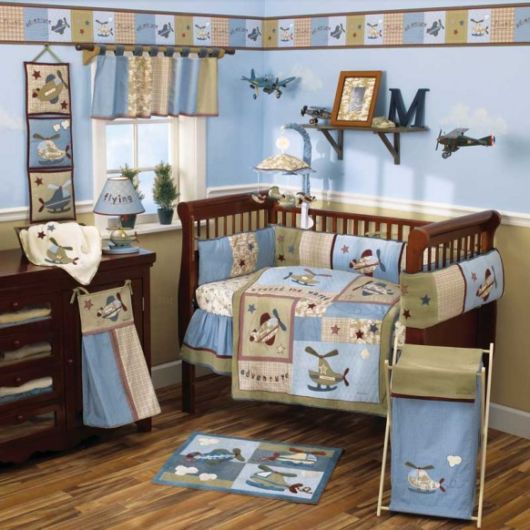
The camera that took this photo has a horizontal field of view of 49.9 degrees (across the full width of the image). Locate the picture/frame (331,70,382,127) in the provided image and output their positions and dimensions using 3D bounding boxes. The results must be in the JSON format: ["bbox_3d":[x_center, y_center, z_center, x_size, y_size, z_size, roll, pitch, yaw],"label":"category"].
[{"bbox_3d":[0.547,-0.969,3.322,0.356,0.420,0.030,10,-9,40],"label":"picture/frame"}]

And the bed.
[{"bbox_3d":[0.334,0.218,2.990,1.477,1.062,0.837,5,18,38],"label":"bed"}]

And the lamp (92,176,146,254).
[{"bbox_3d":[-0.733,-0.248,2.887,0.267,0.361,0.266,6,14,21],"label":"lamp"}]

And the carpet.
[{"bbox_3d":[-0.068,0.899,2.571,0.756,0.013,0.511,2,7,14],"label":"carpet"}]

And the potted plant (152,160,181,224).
[{"bbox_3d":[-0.620,-0.440,3.491,0.162,0.372,0.163,1,7,5],"label":"potted plant"}]
